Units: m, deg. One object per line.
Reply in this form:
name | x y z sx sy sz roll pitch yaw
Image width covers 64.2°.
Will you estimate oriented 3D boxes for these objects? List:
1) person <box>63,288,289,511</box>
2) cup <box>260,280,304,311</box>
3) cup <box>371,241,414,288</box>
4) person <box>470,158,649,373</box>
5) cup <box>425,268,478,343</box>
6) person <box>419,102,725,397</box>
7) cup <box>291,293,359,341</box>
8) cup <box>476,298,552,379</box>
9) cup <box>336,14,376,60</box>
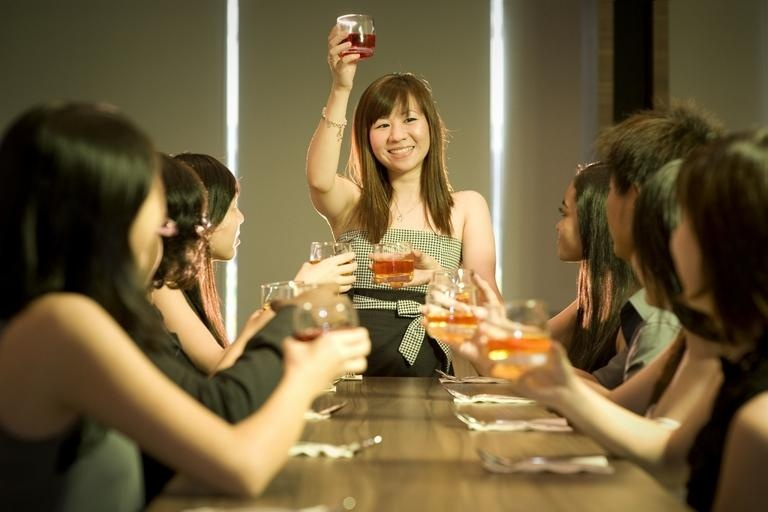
person | -0.525 0.381 1.969 1.044 0.619 0.485 5 -2 -6
cup | -0.318 0.115 1.931 0.124 0.107 0.140 0 2 16
cup | 0.035 0.037 2.526 0.188 0.199 0.192 0 -6 0
person | 0.890 0.047 3.040 0.657 1.565 0.705 3 1 27
cup | 0.172 0.147 1.709 0.169 0.251 0.178 0 -11 0
person | 0.689 -0.087 2.610 1.030 1.317 0.824 5 3 18
cup | -0.150 0.134 1.527 0.111 0.125 0.117 -8 2 0
cup | 0.310 0.192 1.441 0.166 0.184 0.166 -2 -7 0
cup | -0.125 -1.056 2.889 0.182 0.185 0.182 0 5 0
